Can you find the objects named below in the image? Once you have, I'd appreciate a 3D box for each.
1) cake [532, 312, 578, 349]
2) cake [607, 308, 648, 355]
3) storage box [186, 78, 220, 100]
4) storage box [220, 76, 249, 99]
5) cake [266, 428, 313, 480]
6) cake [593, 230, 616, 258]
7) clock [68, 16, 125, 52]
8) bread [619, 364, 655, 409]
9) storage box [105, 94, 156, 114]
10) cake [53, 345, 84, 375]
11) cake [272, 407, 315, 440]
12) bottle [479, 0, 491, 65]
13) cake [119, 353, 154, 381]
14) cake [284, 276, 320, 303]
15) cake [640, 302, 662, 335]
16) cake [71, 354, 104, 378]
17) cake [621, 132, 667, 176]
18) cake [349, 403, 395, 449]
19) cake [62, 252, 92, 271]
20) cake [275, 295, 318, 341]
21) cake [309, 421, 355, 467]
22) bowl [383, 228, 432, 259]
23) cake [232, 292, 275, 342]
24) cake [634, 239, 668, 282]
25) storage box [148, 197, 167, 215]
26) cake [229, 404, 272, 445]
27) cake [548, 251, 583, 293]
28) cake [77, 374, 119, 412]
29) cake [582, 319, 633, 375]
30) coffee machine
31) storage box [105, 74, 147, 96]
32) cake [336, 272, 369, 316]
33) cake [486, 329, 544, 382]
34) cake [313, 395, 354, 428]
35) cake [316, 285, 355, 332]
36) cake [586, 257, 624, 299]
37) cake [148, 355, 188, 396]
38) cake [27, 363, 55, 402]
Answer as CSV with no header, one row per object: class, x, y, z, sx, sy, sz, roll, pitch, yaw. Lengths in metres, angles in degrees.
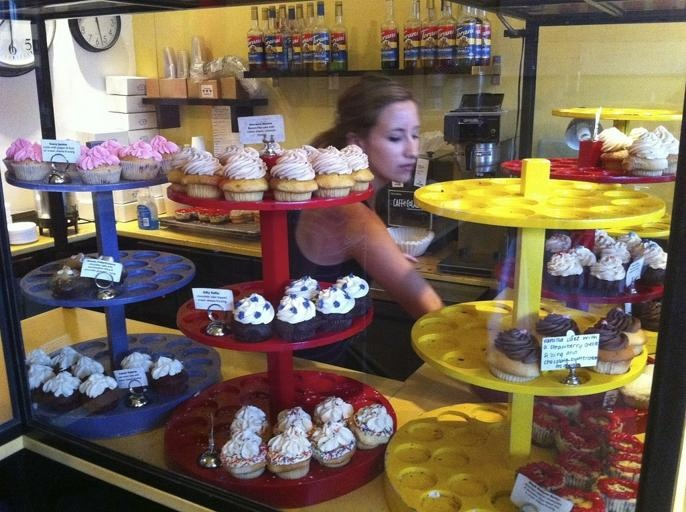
cake,0.446,0.157,1.113,0.081,0.027,0.078,-9,10,-39
cake,0.605,0.164,1.125,0.113,0.079,0.095,0,1,1
storage box,-0.430,-0.525,1.663,0.130,0.061,0.055,9,22,33
storage box,-0.321,-0.503,1.579,0.061,0.056,0.095,-1,13,1
cake,-0.125,0.479,1.300,0.119,0.095,0.129,1,3,-6
cake,0.602,-0.029,1.252,0.068,0.048,0.037,1,-3,9
clock,-0.758,-0.687,1.624,0.102,0.092,0.020,-13,38,-33
bread,0.642,0.295,1.143,0.045,0.113,0.105,1,19,13
storage box,-0.660,-0.462,1.643,0.098,0.034,0.096,11,16,37
cake,-0.876,0.328,1.662,0.088,0.038,0.085,36,64,22
cake,-0.126,0.423,1.341,0.079,0.029,0.075,-14,22,-37
bottle,0.345,-0.527,1.276,0.028,0.125,0.067,1,20,13
cake,-0.632,0.338,1.622,0.093,0.031,0.063,8,26,3
cake,-0.109,0.086,1.397,0.078,0.034,0.070,12,22,22
cake,0.629,0.127,1.080,0.023,0.075,0.091,5,20,23
cake,-0.783,0.337,1.621,0.083,0.040,0.067,-3,14,-31
cake,0.627,-0.208,1.091,0.105,0.075,0.088,-1,15,1
cake,0.076,0.426,1.372,0.121,0.090,0.116,6,11,36
cake,-0.796,0.020,1.563,0.063,0.035,0.072,-3,3,-23
cake,-0.114,0.155,1.350,0.134,0.096,0.112,-1,14,-5
cake,-0.025,0.445,1.293,0.126,0.060,0.107,3,11,10
bowl,0.170,-0.035,1.381,0.103,0.033,0.095,0,10,0
cake,-0.220,0.157,1.358,0.137,0.090,0.114,1,12,-1
cake,0.659,0.013,1.132,0.054,0.076,0.123,1,18,12
storage box,-0.598,-0.163,1.719,0.063,0.083,0.059,1,2,-22
cake,-0.237,0.428,1.362,0.100,0.072,0.087,7,10,15
cake,0.501,0.038,1.190,0.078,0.072,0.091,3,19,18
cake,-0.746,0.415,1.615,0.130,0.040,0.110,-25,58,-24
cake,0.555,0.197,1.103,0.082,0.084,0.069,0,19,8
coffee machine,0.322,-0.171,1.298,0.186,0.444,0.190,2,21,16
storage box,-0.672,-0.532,1.649,0.085,0.043,0.114,9,14,29
cake,-0.004,0.103,1.368,0.123,0.088,0.105,0,6,-6
cake,0.355,0.209,1.148,0.130,0.092,0.111,2,9,8
cake,-0.026,0.399,1.349,0.080,0.028,0.080,19,28,39
cake,-0.021,0.137,1.373,0.132,0.089,0.109,-1,10,-7
cake,0.586,0.044,1.175,0.099,0.075,0.095,6,15,35
cake,-0.515,0.360,1.626,0.123,0.094,0.120,-5,10,-43
cake,-0.963,0.389,1.660,0.105,0.083,0.026,11,-7,7
